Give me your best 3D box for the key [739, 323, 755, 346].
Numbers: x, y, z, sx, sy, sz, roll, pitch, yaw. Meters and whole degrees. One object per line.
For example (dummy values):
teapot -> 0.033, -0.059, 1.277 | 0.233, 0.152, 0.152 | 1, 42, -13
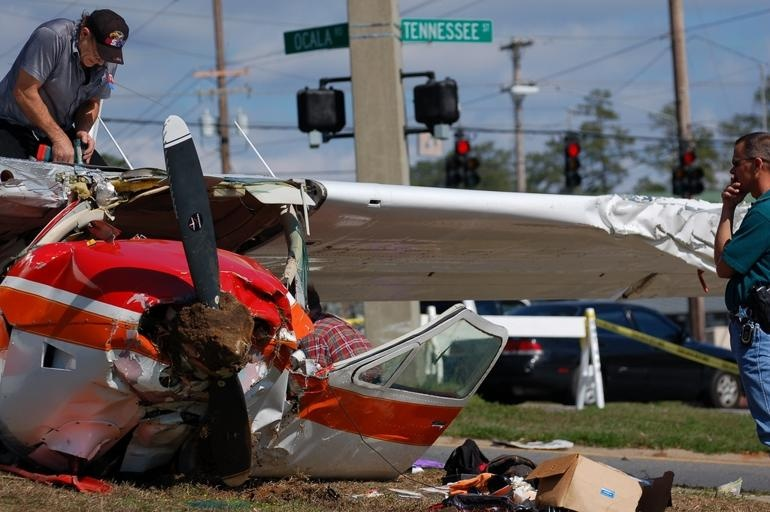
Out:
key -> 3.171, 0.671, 11.190 | 0.123, 0.176, 0.021 | 5, 2, 41

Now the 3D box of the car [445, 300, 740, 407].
car -> 3.076, 1.410, 18.118 | 3.933, 1.159, 1.507 | 2, 2, -30

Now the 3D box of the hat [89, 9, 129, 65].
hat -> -2.804, -2.196, 12.792 | 0.414, 0.507, 0.213 | 3, 2, -14
